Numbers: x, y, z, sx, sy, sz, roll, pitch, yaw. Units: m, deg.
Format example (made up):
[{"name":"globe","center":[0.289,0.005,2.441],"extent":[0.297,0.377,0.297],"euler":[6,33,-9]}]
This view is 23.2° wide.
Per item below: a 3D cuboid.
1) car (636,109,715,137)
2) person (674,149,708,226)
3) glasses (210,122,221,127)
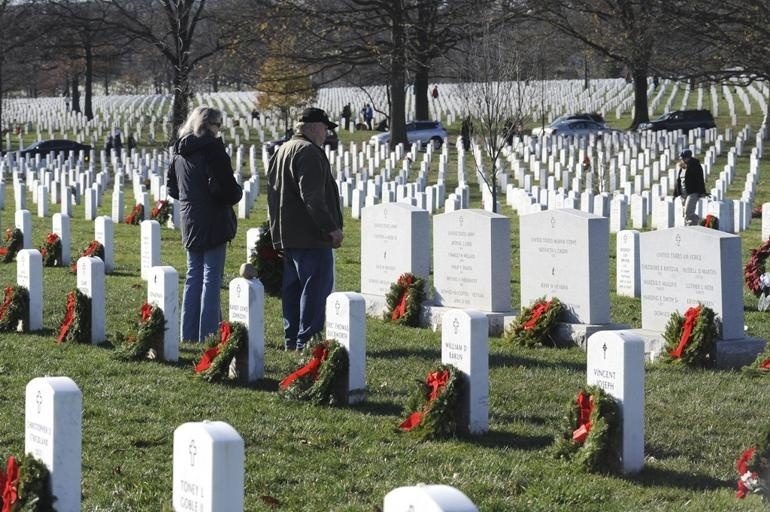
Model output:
[{"name":"car","center":[13.145,-6.210,84.310],"extent":[3.089,1.378,1.477],"euler":[1,1,-3]},{"name":"person","center":[10.033,-2.344,61.458],"extent":[0.954,2.457,1.412],"euler":[2,3,7]},{"name":"glasses","center":[-4.723,-3.825,53.037],"extent":[0.113,0.131,0.355],"euler":[4,5,34]}]
